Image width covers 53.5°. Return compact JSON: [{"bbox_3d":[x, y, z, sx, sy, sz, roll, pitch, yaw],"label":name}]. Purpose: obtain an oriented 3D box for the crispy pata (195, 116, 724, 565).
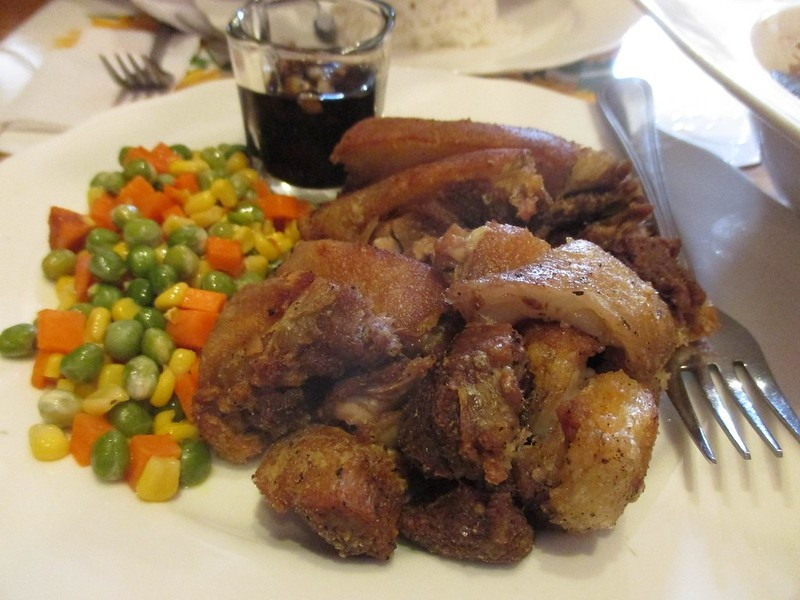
[{"bbox_3d":[0.260,0.134,3.313,1.826,0.668,1.998,32,71,11],"label":"crispy pata"}]
